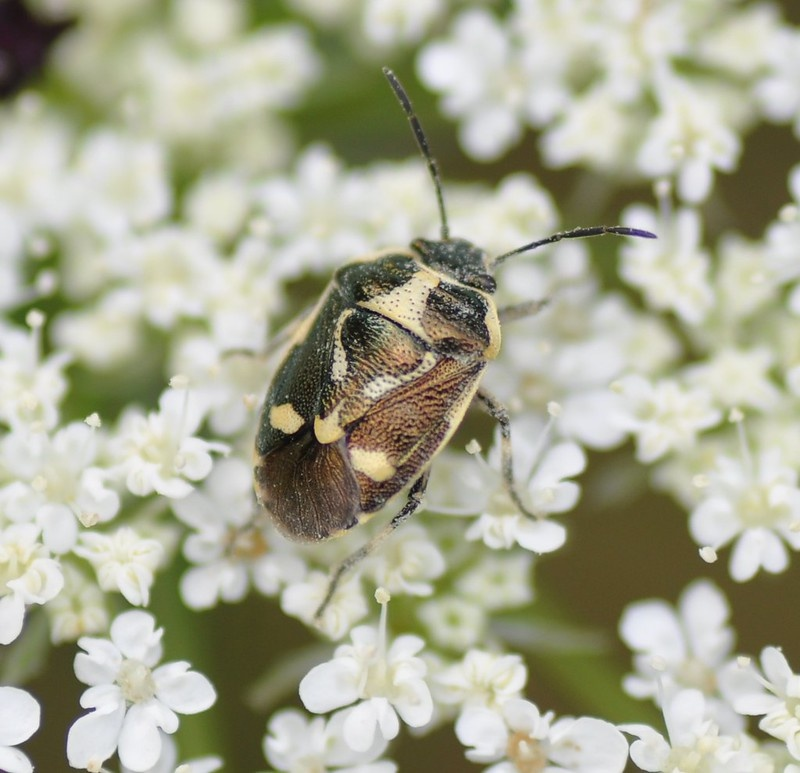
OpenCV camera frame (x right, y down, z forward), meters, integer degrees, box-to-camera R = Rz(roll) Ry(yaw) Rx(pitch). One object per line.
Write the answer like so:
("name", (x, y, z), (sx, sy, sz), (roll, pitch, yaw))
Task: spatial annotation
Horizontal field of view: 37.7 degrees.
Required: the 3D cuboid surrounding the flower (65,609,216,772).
("flower", (-0.544, 0.653, 2.454), (0.303, 0.188, 0.279), (13, -73, -3))
